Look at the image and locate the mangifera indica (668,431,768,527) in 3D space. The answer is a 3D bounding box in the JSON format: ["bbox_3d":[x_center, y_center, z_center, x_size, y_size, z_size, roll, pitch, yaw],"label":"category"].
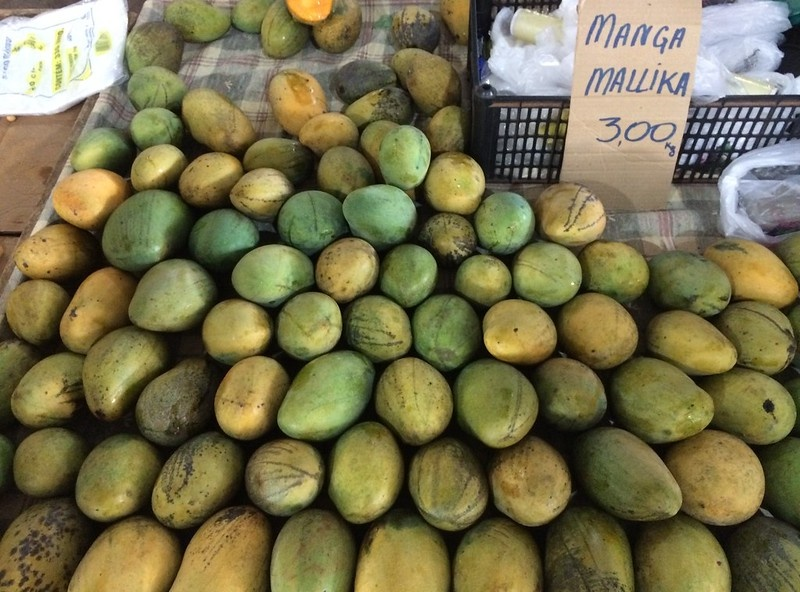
[{"bbox_3d":[0.702,0.401,1.519,0.188,0.209,0.255,-5,26,16],"label":"mangifera indica"}]

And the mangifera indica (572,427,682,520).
[{"bbox_3d":[0.488,0.391,1.492,0.210,0.143,0.137,36,99,47],"label":"mangifera indica"}]

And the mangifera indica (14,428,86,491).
[{"bbox_3d":[-0.797,0.365,1.585,0.112,0.163,0.118,-16,16,-19],"label":"mangifera indica"}]

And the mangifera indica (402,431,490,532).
[{"bbox_3d":[0.105,0.417,1.505,0.170,0.142,0.243,2,27,3],"label":"mangifera indica"}]

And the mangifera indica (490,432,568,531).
[{"bbox_3d":[0.280,0.395,1.502,0.137,0.182,0.148,-23,78,7],"label":"mangifera indica"}]

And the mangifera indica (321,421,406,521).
[{"bbox_3d":[-0.078,0.393,1.510,0.164,0.139,0.239,8,46,1],"label":"mangifera indica"}]

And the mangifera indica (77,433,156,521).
[{"bbox_3d":[-0.611,0.394,1.539,0.134,0.111,0.188,23,41,10],"label":"mangifera indica"}]
